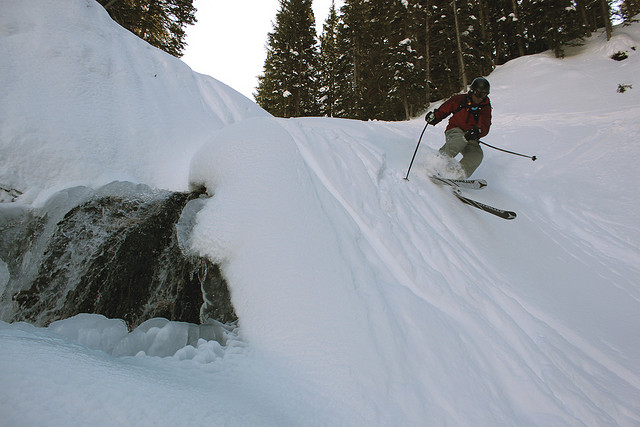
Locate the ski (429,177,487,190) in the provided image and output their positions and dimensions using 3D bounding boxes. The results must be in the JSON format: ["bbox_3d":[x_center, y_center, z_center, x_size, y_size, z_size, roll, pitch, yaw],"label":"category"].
[{"bbox_3d":[3.128,-0.702,11.115,1.220,0.248,0.242,1,-8,15],"label":"ski"}]

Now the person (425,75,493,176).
[{"bbox_3d":[3.481,-2.028,11.698,1.145,2.316,0.714,1,-8,17],"label":"person"}]

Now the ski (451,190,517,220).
[{"bbox_3d":[3.539,-0.227,10.710,1.542,0.181,0.170,25,-36,35],"label":"ski"}]
